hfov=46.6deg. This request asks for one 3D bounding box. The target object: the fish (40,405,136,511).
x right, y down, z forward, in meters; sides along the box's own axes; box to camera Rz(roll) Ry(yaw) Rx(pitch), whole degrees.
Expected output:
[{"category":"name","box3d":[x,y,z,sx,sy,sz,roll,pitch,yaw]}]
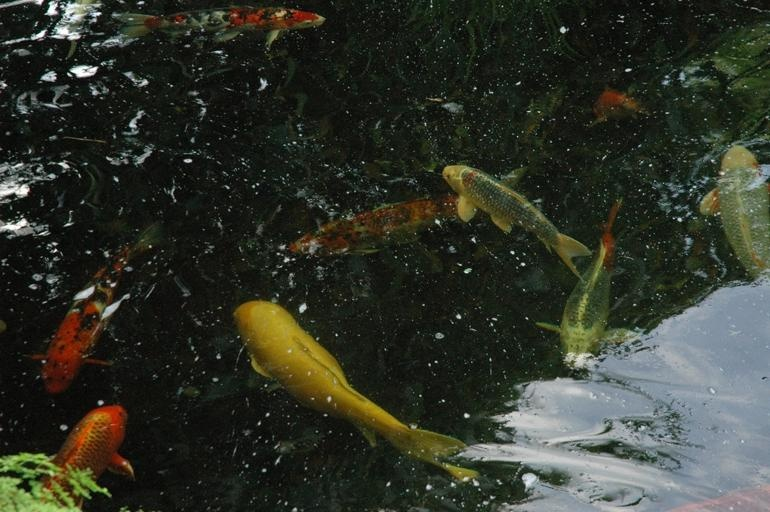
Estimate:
[{"category":"fish","box3d":[-2.522,1.718,7.909,0.516,0.369,1.042,24,45,8]}]

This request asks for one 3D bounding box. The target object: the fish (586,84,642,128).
[{"category":"fish","box3d":[2.335,-1.531,9.119,0.374,0.172,0.446,-27,31,-36]}]

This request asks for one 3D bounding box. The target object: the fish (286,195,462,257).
[{"category":"fish","box3d":[-0.085,-0.265,8.708,1.602,0.317,0.219,-10,57,-2]}]
